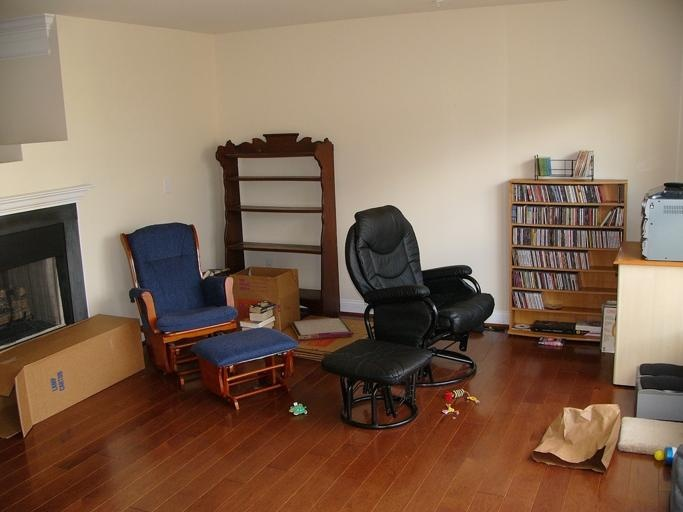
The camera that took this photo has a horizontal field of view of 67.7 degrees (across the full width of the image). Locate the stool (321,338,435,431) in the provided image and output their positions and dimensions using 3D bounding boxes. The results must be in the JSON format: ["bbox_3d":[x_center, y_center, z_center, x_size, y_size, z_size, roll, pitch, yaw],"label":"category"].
[{"bbox_3d":[0.285,0.894,3.577,0.664,0.521,0.588,-2,7,23],"label":"stool"}]

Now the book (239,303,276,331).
[{"bbox_3d":[-0.805,0.555,4.924,0.267,0.233,0.359,3,8,27],"label":"book"}]

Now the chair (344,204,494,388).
[{"bbox_3d":[0.659,0.281,4.183,1.228,1.245,1.152,1,12,5],"label":"chair"}]

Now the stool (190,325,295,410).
[{"bbox_3d":[-0.752,0.859,4.043,0.705,0.406,0.580,-8,4,-38],"label":"stool"}]

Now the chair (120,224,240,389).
[{"bbox_3d":[-1.420,0.405,4.655,1.215,1.204,0.956,12,20,28],"label":"chair"}]
